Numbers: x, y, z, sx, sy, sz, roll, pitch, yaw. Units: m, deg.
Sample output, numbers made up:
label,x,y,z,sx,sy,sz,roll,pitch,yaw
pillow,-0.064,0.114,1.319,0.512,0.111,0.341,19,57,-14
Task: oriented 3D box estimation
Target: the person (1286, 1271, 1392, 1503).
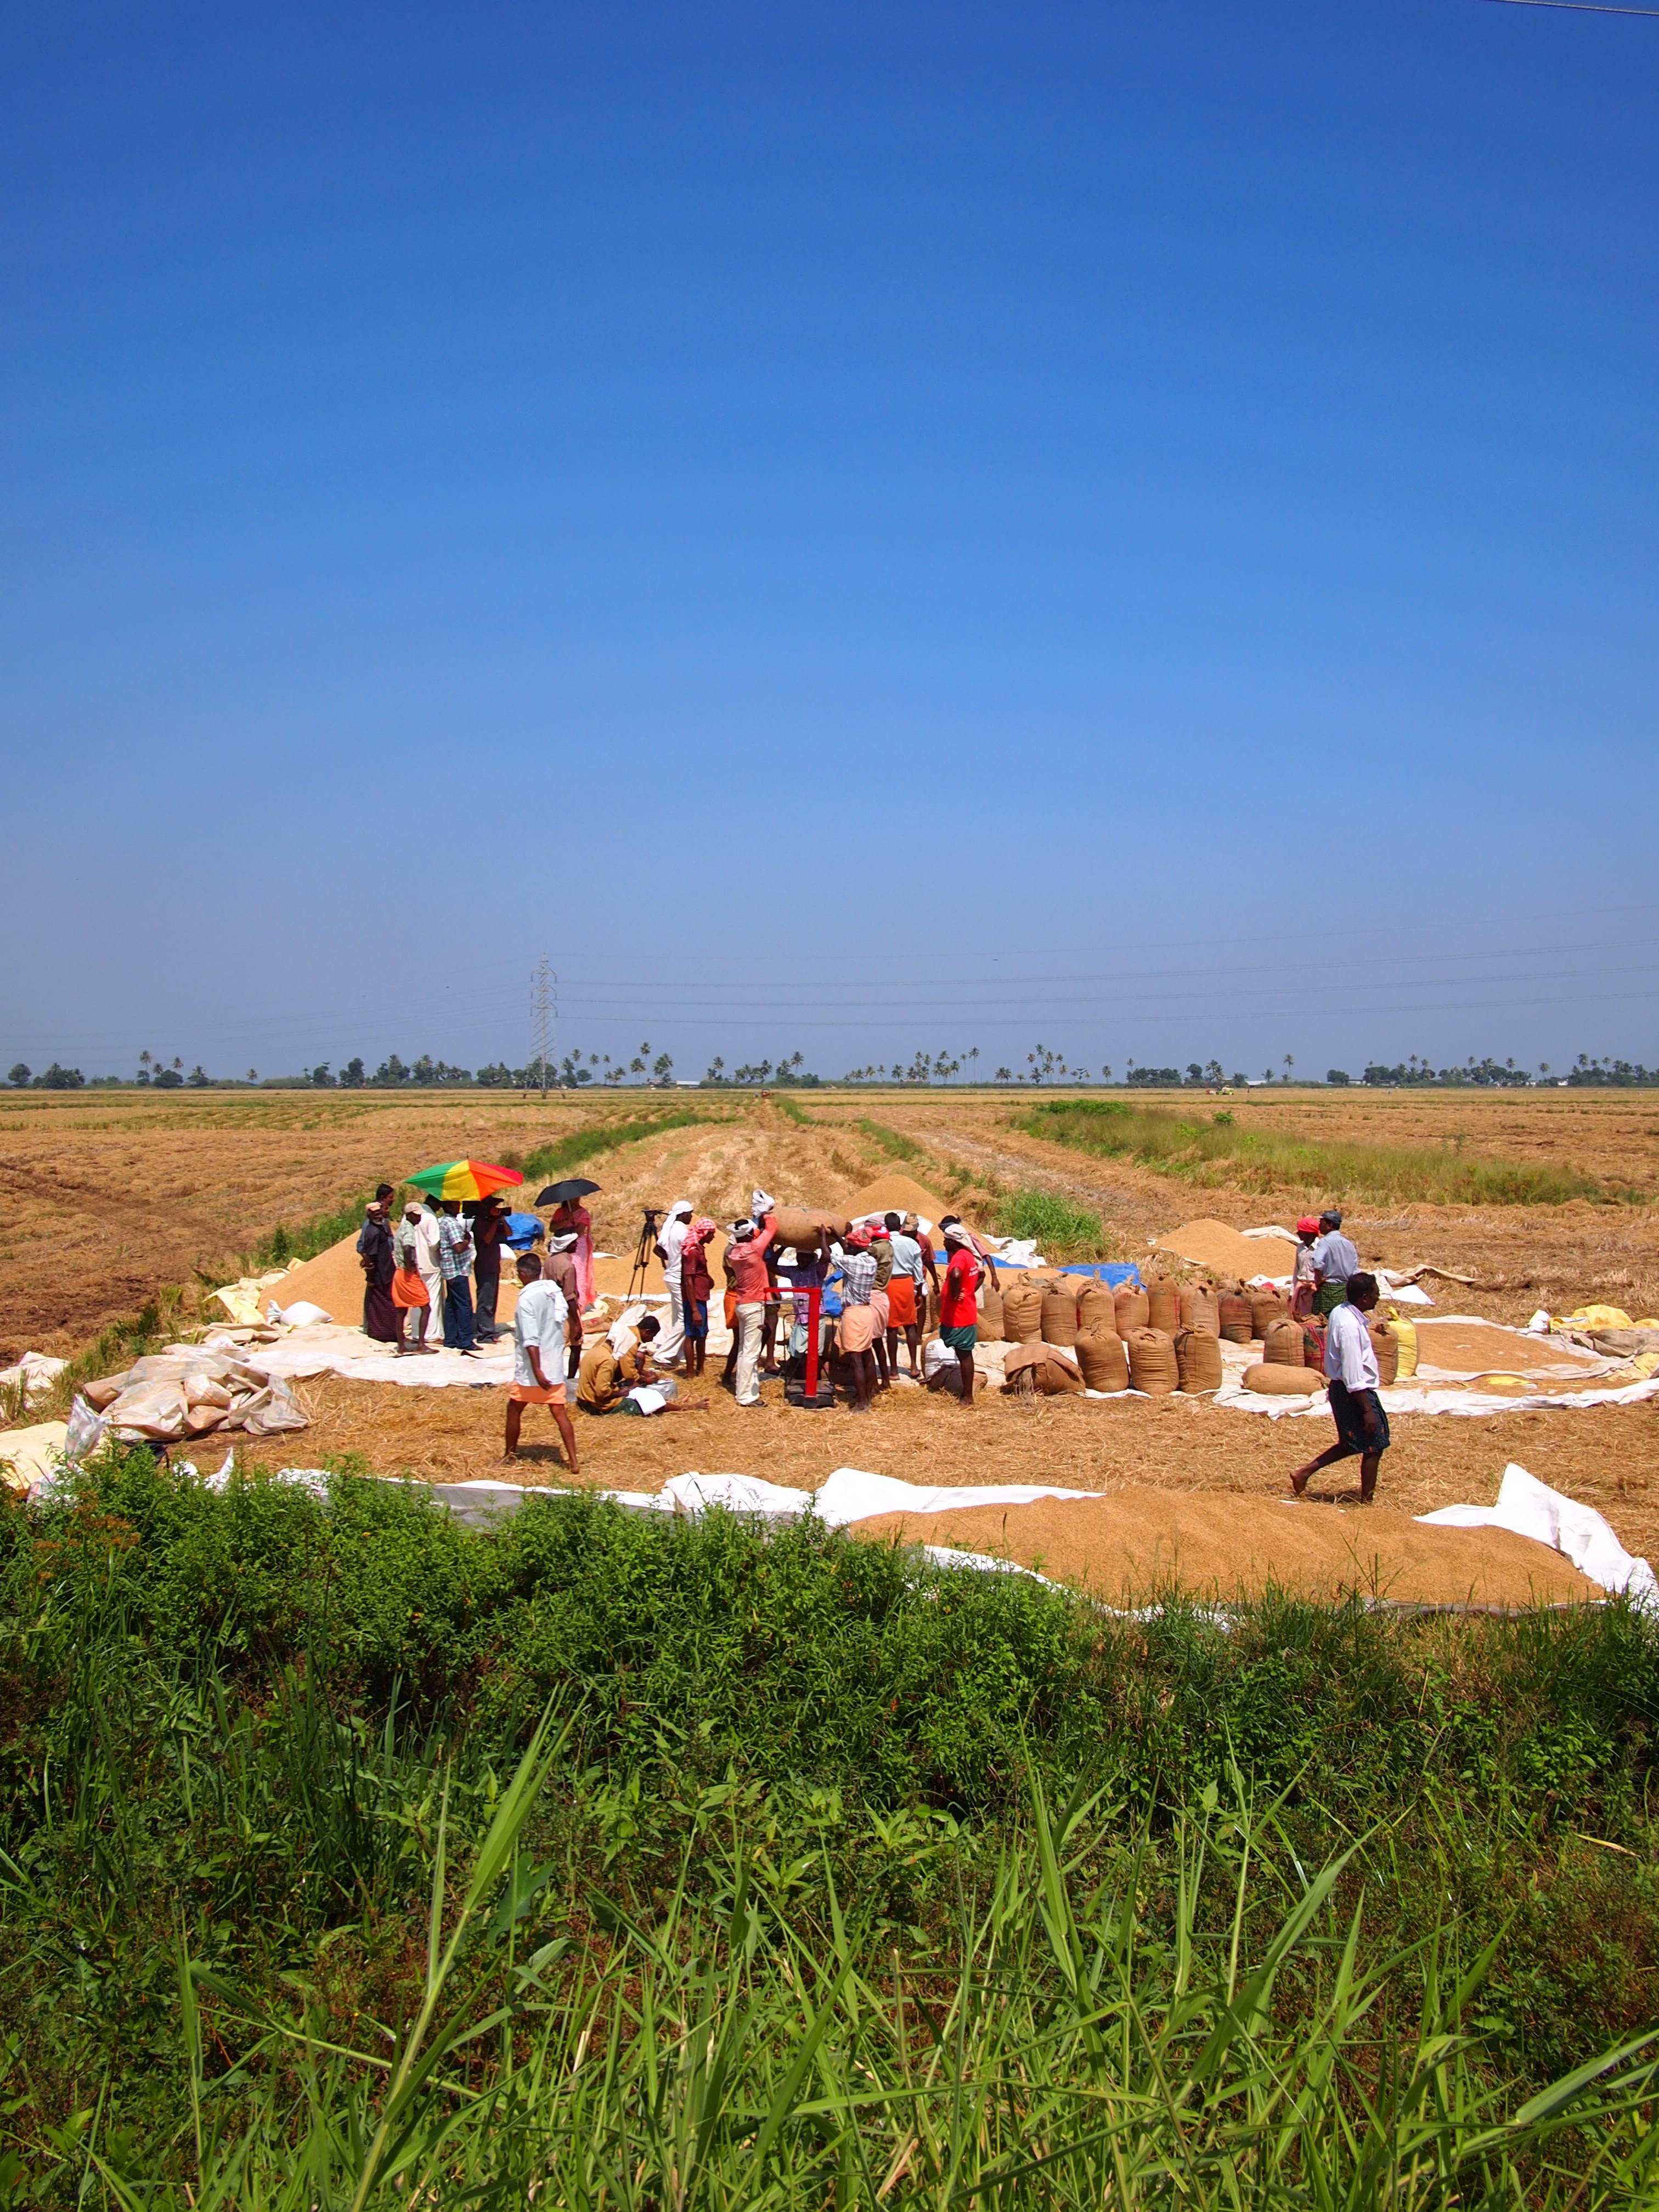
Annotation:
label,x,y,z,sx,sy,sz,roll,pitch,yaw
person,3.389,1.838,10.387,0.540,1.535,1.388,0,2,18
